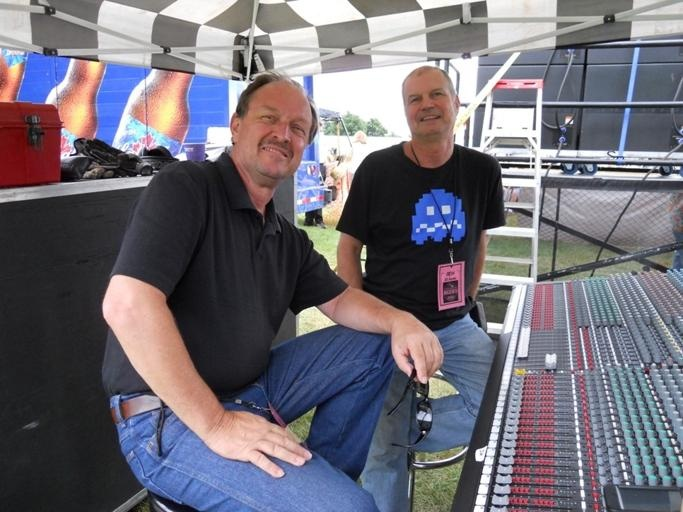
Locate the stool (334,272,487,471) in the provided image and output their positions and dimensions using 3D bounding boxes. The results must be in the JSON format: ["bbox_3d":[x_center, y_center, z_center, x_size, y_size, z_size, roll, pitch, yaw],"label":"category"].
[{"bbox_3d":[0.408,0.757,2.747,0.721,0.952,0.740,10,9,22],"label":"stool"}]

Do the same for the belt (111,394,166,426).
[{"bbox_3d":[-0.720,0.524,1.632,0.134,0.046,0.129,-5,-14,-12],"label":"belt"}]
